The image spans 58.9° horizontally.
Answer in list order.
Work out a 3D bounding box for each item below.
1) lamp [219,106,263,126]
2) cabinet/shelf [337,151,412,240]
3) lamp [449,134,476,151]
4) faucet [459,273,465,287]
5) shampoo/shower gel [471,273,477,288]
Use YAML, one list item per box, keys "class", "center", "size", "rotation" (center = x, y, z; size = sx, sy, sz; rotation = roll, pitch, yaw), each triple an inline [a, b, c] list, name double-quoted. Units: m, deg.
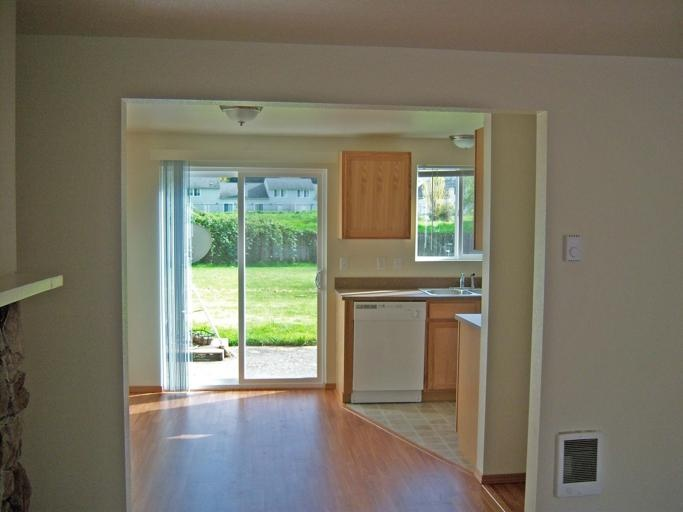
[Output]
- class: "lamp"
  center: [-0.703, -1.026, 4.362]
  size: [0.376, 0.106, 0.249]
  rotation: [7, 10, 42]
- class: "cabinet/shelf"
  center: [0.336, -0.561, 5.809]
  size: [0.663, 0.844, 0.285]
  rotation: [0, -1, 1]
- class: "lamp"
  center: [1.161, -1.097, 5.825]
  size: [0.235, 0.131, 0.389]
  rotation: [2, 8, 10]
- class: "faucet"
  center: [1.193, 0.238, 5.959]
  size: [0.054, 0.149, 0.194]
  rotation: [2, 8, 11]
- class: "shampoo/shower gel"
  center: [1.317, 0.244, 5.995]
  size: [0.055, 0.147, 0.155]
  rotation: [2, 8, 14]
